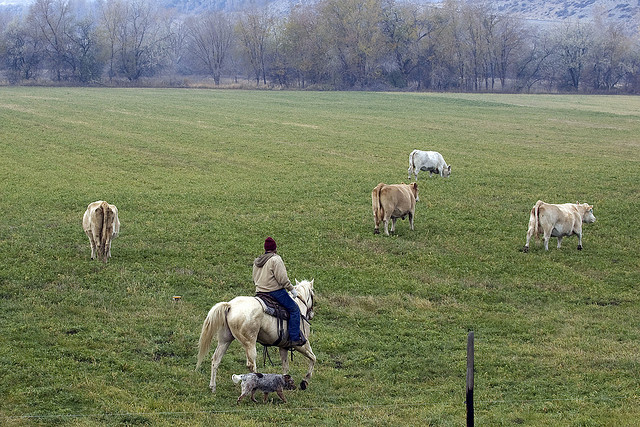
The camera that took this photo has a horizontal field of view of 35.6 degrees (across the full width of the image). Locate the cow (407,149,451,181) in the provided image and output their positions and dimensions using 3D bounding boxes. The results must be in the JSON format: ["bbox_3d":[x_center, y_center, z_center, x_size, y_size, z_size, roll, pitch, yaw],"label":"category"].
[{"bbox_3d":[11.540,-5.039,106.999,4.277,3.169,1.811,-1,7,2],"label":"cow"}]

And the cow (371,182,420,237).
[{"bbox_3d":[7.802,-0.425,99.650,2.897,5.208,8.699,2,3,31],"label":"cow"}]

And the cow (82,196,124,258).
[{"bbox_3d":[-21.198,1.620,96.868,3.897,5.446,10.182,2,2,-15],"label":"cow"}]

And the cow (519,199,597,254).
[{"bbox_3d":[23.541,1.368,96.809,8.937,4.992,2.805,0,-1,-33],"label":"cow"}]
